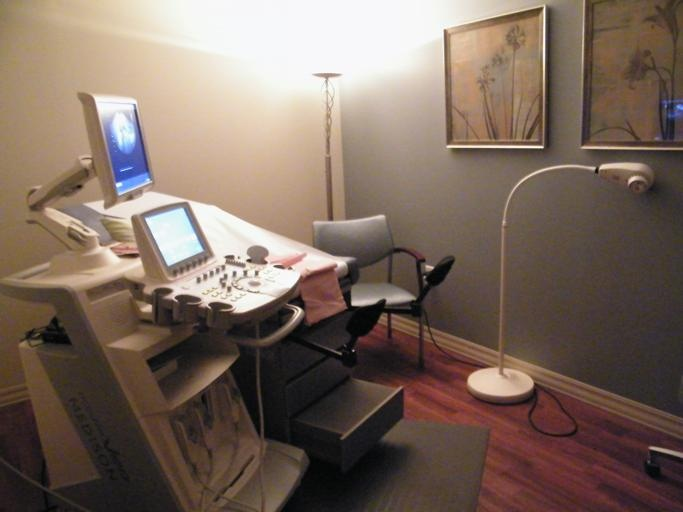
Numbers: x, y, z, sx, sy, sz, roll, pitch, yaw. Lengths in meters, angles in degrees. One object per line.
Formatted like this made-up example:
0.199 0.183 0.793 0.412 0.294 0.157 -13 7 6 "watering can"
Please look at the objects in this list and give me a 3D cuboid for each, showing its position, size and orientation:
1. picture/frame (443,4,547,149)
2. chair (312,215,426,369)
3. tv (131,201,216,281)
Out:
0.921 -1.087 3.139 0.074 1.010 0.859 -12 13 -44 "picture/frame"
0.127 0.241 3.563 0.715 0.944 0.623 -6 11 -18 "chair"
-0.709 -0.052 2.218 0.157 0.296 0.296 -10 12 27 "tv"
